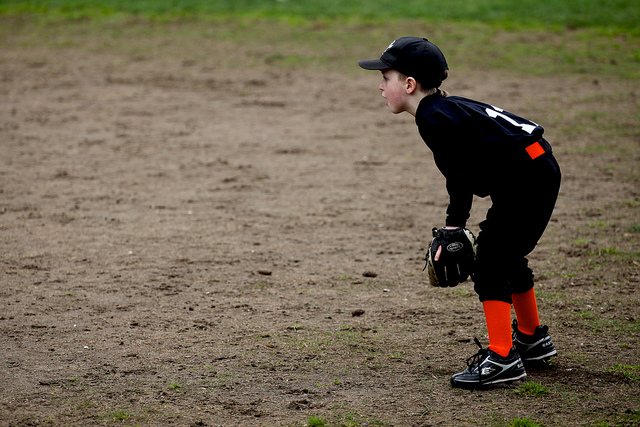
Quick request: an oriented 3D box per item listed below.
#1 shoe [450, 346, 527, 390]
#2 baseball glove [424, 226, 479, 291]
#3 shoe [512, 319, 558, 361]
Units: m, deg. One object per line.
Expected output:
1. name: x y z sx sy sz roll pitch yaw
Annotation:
1. shoe: 1.603 1.482 11.507 0.731 0.371 0.171 -3 16 -12
2. baseball glove: 1.234 0.409 11.496 0.781 0.528 0.463 -3 6 3
3. shoe: 2.066 1.256 11.740 0.438 0.335 0.235 3 16 14
